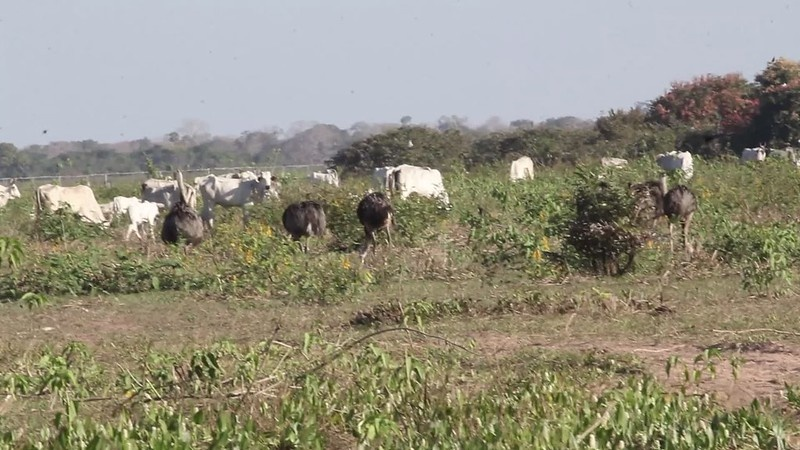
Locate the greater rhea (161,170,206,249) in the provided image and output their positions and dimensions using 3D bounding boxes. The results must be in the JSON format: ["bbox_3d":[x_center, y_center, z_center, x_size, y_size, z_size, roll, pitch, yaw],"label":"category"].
[{"bbox_3d":[-5.684,-0.487,21.996,1.037,2.039,1.785,-4,-2,-15],"label":"greater rhea"}]

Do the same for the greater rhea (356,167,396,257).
[{"bbox_3d":[-0.588,0.008,21.684,0.924,1.635,0.965,-4,-2,-5],"label":"greater rhea"}]

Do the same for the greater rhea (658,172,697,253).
[{"bbox_3d":[6.799,-0.296,20.678,0.782,1.748,1.535,-5,-2,18],"label":"greater rhea"}]

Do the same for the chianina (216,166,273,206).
[{"bbox_3d":[-4.812,-1.060,26.502,2.045,0.723,0.871,-4,-2,29],"label":"chianina"}]
